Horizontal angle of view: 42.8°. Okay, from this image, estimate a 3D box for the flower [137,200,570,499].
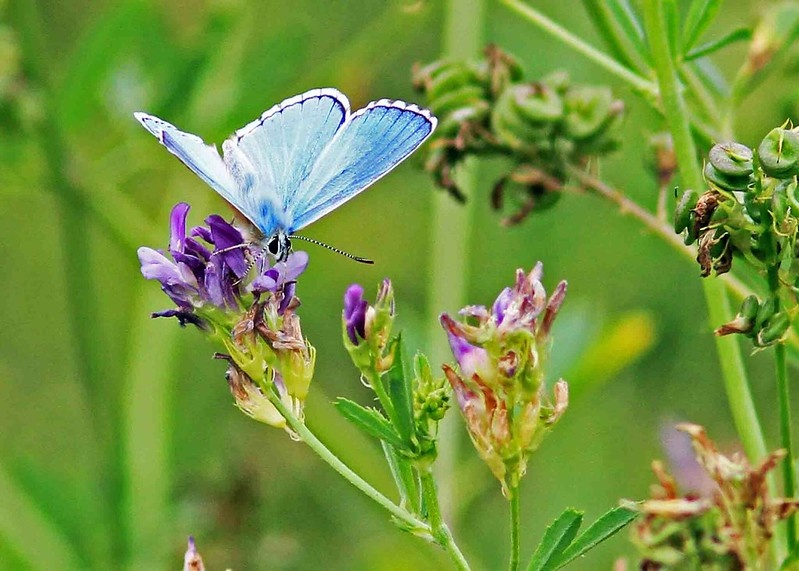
[{"bbox_3d":[-0.053,0.048,1.655,0.727,0.433,0.336,10,8,20],"label":"flower"}]
